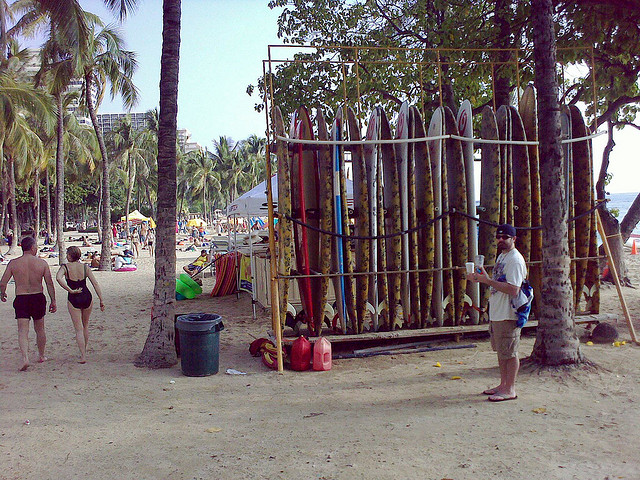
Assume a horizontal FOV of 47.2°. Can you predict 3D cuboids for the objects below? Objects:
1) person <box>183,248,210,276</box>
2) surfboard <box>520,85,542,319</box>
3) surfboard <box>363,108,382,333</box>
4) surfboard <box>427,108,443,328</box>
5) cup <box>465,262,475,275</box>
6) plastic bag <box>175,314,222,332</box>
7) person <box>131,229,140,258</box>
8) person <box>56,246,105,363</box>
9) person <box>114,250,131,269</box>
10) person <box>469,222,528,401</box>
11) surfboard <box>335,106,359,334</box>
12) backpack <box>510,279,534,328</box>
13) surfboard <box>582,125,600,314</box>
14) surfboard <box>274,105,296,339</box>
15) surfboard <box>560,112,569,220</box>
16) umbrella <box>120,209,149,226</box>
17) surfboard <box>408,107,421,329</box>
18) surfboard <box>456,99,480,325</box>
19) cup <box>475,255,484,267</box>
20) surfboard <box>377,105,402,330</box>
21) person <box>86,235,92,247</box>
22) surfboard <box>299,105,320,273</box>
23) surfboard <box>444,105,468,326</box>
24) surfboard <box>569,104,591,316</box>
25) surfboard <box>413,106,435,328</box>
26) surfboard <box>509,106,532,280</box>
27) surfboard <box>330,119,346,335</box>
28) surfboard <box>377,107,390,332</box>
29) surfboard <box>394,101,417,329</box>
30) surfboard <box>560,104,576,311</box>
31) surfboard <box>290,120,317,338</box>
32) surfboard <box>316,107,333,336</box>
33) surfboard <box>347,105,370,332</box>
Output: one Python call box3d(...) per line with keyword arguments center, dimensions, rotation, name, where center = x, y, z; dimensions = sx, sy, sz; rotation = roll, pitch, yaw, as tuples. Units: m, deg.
box3d(center=(-3.493, 0.610, 20.922), dimensions=(0.696, 0.702, 1.744), rotation=(-1, -2, -8), name="person")
box3d(center=(3.665, -0.652, 12.565), dimensions=(0.339, 3.944, 0.509), rotation=(-1, 0, -17), name="surfboard")
box3d(center=(0.873, -0.349, 12.076), dimensions=(0.269, 3.742, 0.615), rotation=(-1, -1, 5), name="surfboard")
box3d(center=(1.957, -0.364, 12.283), dimensions=(0.296, 3.645, 0.558), rotation=(-1, -1, 1), name="surfboard")
box3d(center=(2.116, 0.399, 10.307), dimensions=(0.132, 0.172, 0.123), rotation=(1, 1, 0), name="cup")
box3d(center=(-1.897, 1.302, 11.508), dimensions=(0.688, 0.244, 0.448), rotation=(-1, -2, -12), name="plastic bag")
box3d(center=(-8.045, 0.137, 32.047), dimensions=(0.338, 1.255, 1.938), rotation=(-1, -2, -14), name="person")
box3d(center=(-3.945, 1.041, 12.114), dimensions=(0.698, 1.898, 0.607), rotation=(-1, -1, -19), name="person")
box3d(center=(-6.581, 0.741, 24.440), dimensions=(0.494, 0.445, 0.776), rotation=(-1, -2, -18), name="person")
box3d(center=(2.568, 1.009, 10.246), dimensions=(0.662, 2.452, 0.347), rotation=(-1, -1, 15), name="person")
box3d(center=(0.464, -0.367, 12.091), dimensions=(0.318, 3.832, 1.036), rotation=(-1, -1, 3), name="surfboard")
box3d(center=(2.887, 0.887, 10.335), dimensions=(0.247, 0.682, 0.492), rotation=(-2, -1, 34), name="backpack")
box3d(center=(4.581, -0.240, 12.410), dimensions=(0.479, 3.351, 0.345), rotation=(0, 0, 18), name="surfboard")
box3d(center=(-0.499, -0.319, 11.866), dimensions=(0.336, 4.086, 0.772), rotation=(-3, -14, 10), name="surfboard")
box3d(center=(4.209, -1.403, 12.518), dimensions=(0.122, 1.645, 0.355), rotation=(-1, -1, 19), name="surfboard")
box3d(center=(-12.433, -1.577, 50.378), dimensions=(1.203, 1.014, 3.128), rotation=(-1, -2, -15), name="umbrella")
box3d(center=(1.568, -0.368, 12.130), dimensions=(0.203, 3.624, 0.179), rotation=(0, 2, 1), name="surfboard")
box3d(center=(2.430, -0.291, 12.055), dimensions=(0.353, 3.918, 0.385), rotation=(-2, 1, -29), name="surfboard")
box3d(center=(2.206, 0.274, 10.099), dimensions=(0.153, 0.212, 0.140), rotation=(2, 6, 0), name="cup")
box3d(center=(1.151, -0.489, 12.284), dimensions=(0.258, 3.747, 0.704), rotation=(-4, -2, 29), name="surfboard")
box3d(center=(-13.901, 0.023, 44.195), dimensions=(0.389, 0.892, 0.293), rotation=(9, 10, 23), name="person")
box3d(center=(-0.159, -0.867, 12.183), dimensions=(0.252, 3.012, 0.311), rotation=(-1, 4, 1), name="surfboard")
box3d(center=(2.304, -0.369, 12.365), dimensions=(0.462, 3.435, 0.311), rotation=(0, -2, 1), name="surfboard")
box3d(center=(4.413, -0.555, 12.452), dimensions=(0.585, 3.668, 0.351), rotation=(-1, 0, 12), name="surfboard")
box3d(center=(1.750, -0.351, 12.259), dimensions=(0.334, 3.822, 0.364), rotation=(0, -4, 0), name="surfboard")
box3d(center=(3.292, -0.715, 12.026), dimensions=(0.388, 2.934, 0.305), rotation=(0, -3, 2), name="surfboard")
box3d(center=(0.293, -0.222, 11.928), dimensions=(0.200, 3.380, 0.165), rotation=(0, 2, 7), name="surfboard")
box3d(center=(1.041, -0.838, 12.086), dimensions=(0.147, 4.688, 0.274), rotation=(0, -1, -17), name="surfboard")
box3d(center=(1.435, -0.409, 12.236), dimensions=(0.287, 4.020, 0.755), rotation=(8, 22, 29), name="surfboard")
box3d(center=(4.293, -0.682, 12.654), dimensions=(0.238, 3.715, 0.490), rotation=(-7, 32, 10), name="surfboard")
box3d(center=(-0.293, -0.118, 12.135), dimensions=(0.368, 3.942, 0.374), rotation=(-2, 2, 40), name="surfboard")
box3d(center=(0.133, -0.339, 11.976), dimensions=(0.223, 3.577, 0.297), rotation=(2, -2, -42), name="surfboard")
box3d(center=(0.735, -0.290, 12.127), dimensions=(0.330, 3.831, 0.344), rotation=(-3, 0, 38), name="surfboard")
